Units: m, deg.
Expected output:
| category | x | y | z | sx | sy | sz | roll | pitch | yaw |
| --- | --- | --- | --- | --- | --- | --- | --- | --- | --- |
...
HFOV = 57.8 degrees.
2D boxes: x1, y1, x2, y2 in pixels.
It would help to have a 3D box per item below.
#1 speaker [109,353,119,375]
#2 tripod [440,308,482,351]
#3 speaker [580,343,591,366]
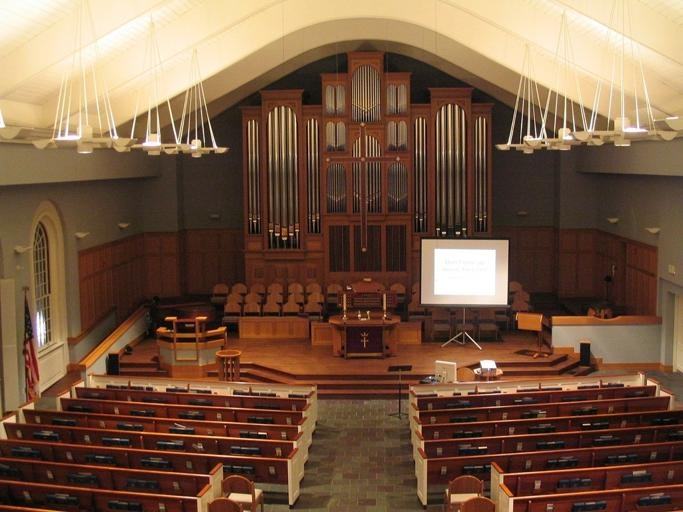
| category | x | y | z | sx | sy | sz | roll | pitch | yaw |
| --- | --- | --- | --- | --- | --- | --- | --- | --- | --- |
| speaker | -5.451 | 2.590 | 14.779 | 0.273 | 0.492 | 0.239 | -4 | 7 | -18 |
| tripod | 3.416 | 2.083 | 17.367 | 1.105 | 1.157 | 1.060 | -1 | 3 | -4 |
| speaker | 6.109 | 2.471 | 15.556 | 0.217 | 0.626 | 0.182 | 3 | 8 | 31 |
